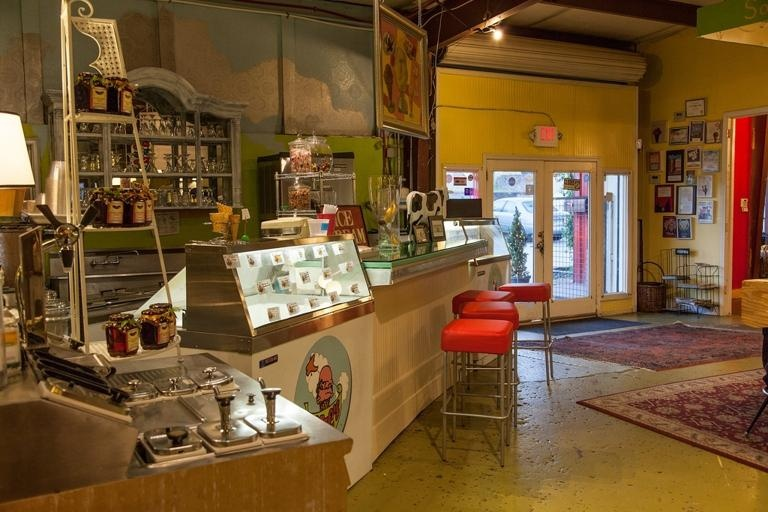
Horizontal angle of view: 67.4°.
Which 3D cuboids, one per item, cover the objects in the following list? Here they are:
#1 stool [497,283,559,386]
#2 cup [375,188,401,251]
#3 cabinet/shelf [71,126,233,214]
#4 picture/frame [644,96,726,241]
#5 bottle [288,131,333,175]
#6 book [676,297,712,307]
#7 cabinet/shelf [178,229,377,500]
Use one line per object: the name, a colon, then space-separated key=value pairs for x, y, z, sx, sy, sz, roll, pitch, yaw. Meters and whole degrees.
stool: x=1.414 y=0.803 z=6.317 sx=0.770 sy=1.024 sz=0.790 roll=1 pitch=0 yaw=29
cup: x=0.033 y=-0.329 z=5.012 sx=0.187 sy=0.532 sz=0.306 roll=-1 pitch=8 yaw=-1
cabinet/shelf: x=-2.355 y=-0.900 z=5.755 sx=1.430 sy=0.629 sz=0.192 roll=-1 pitch=-2 yaw=-29
picture/frame: x=4.943 y=-1.538 z=9.800 sx=0.258 sy=2.650 sz=1.437 roll=-7 pitch=10 yaw=-33
bottle: x=-0.572 y=-0.860 z=4.800 sx=0.361 sy=0.334 sz=0.353 roll=1 pitch=4 yaw=12
book: x=5.146 y=0.766 z=9.519 sx=0.539 sy=0.152 sz=0.297 roll=4 pitch=9 yaw=29
cabinet/shelf: x=-0.620 y=0.776 z=3.930 sx=0.502 sy=1.845 sz=1.353 roll=6 pitch=11 yaw=41
